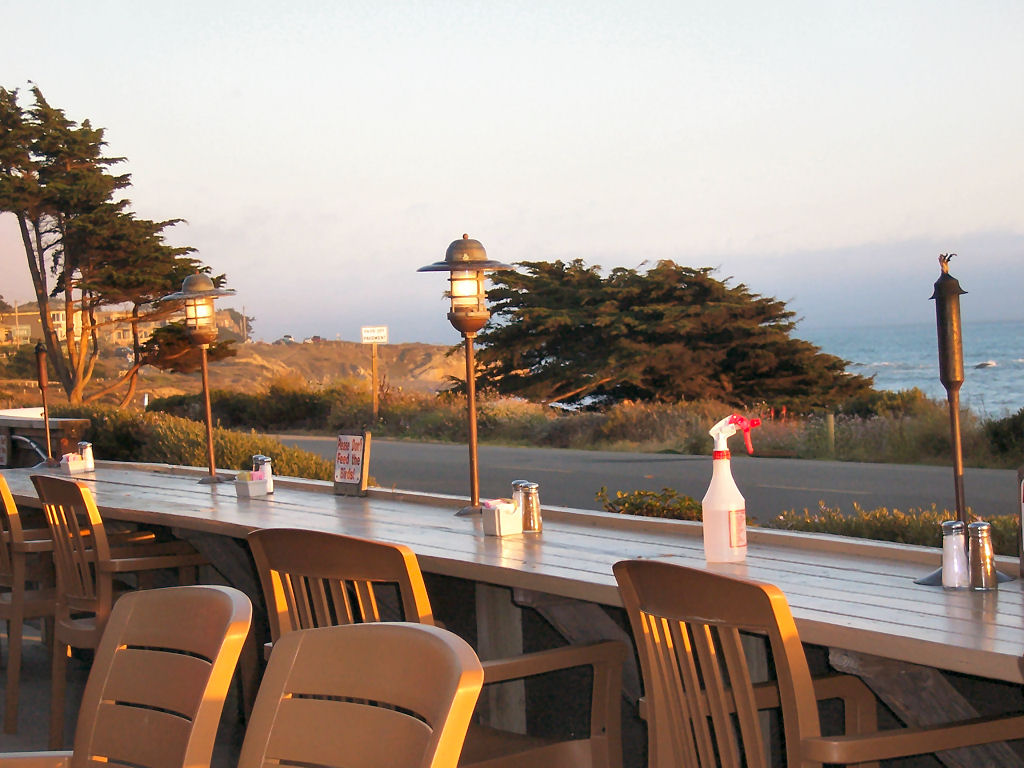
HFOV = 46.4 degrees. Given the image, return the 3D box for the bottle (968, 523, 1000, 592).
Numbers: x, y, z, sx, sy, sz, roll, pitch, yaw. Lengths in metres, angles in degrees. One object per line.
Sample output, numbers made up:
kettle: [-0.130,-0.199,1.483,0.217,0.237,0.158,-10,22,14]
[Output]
bottle: [1.602,0.584,4.083,0.127,0.233,0.129,-4,2,0]

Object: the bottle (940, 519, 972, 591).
bottle: [1.518,0.584,4.091,0.091,0.224,0.051,-3,4,20]
